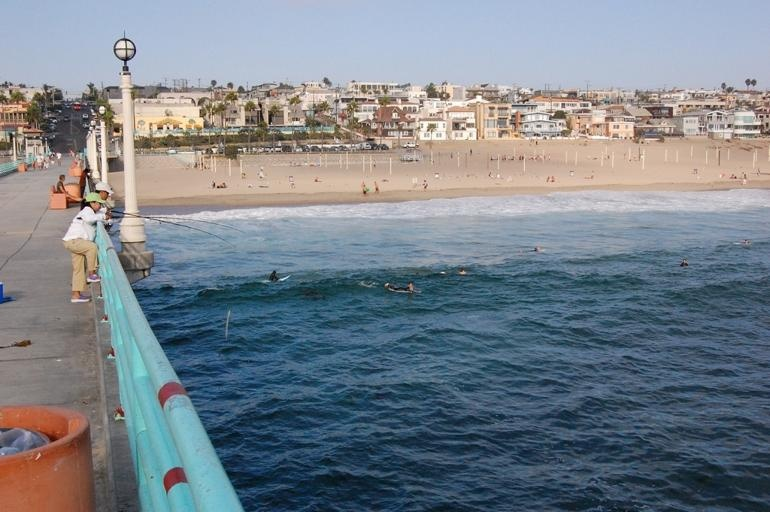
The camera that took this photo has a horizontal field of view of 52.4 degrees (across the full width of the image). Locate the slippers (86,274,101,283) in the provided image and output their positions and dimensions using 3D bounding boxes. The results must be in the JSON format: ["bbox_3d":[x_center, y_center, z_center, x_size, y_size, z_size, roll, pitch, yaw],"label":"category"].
[{"bbox_3d":[-4.846,0.374,13.144,0.256,0.092,0.145,7,11,44],"label":"slippers"}]

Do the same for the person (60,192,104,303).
[{"bbox_3d":[-4.927,-0.171,12.977,0.653,1.556,1.470,-5,16,-19],"label":"person"}]

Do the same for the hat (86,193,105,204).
[{"bbox_3d":[-4.927,-1.013,13.407,0.222,0.129,0.292,12,15,42],"label":"hat"}]

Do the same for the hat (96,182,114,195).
[{"bbox_3d":[-5.020,-1.205,13.970,0.244,0.150,0.328,25,15,31],"label":"hat"}]
